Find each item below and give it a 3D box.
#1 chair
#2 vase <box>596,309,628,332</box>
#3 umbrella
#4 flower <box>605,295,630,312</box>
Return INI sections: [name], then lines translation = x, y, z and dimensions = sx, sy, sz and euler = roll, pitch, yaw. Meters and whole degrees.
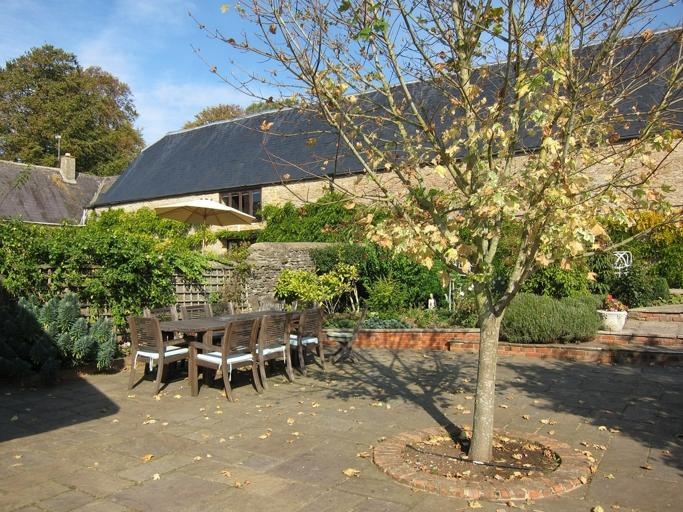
[chair]
translation = -2.101, 1.561, 8.702
dimensions = 2.405, 1.243, 1.818
euler = 1, 4, 15
[vase]
translation = 6.310, 1.528, 11.986
dimensions = 0.637, 0.445, 0.556
euler = 1, 4, 13
[umbrella]
translation = -3.613, -1.099, 13.691
dimensions = 2.071, 1.170, 1.996
euler = 4, -9, -5
[flower]
translation = 6.462, 1.192, 12.402
dimensions = 0.642, 0.316, 0.611
euler = -1, 1, -41
